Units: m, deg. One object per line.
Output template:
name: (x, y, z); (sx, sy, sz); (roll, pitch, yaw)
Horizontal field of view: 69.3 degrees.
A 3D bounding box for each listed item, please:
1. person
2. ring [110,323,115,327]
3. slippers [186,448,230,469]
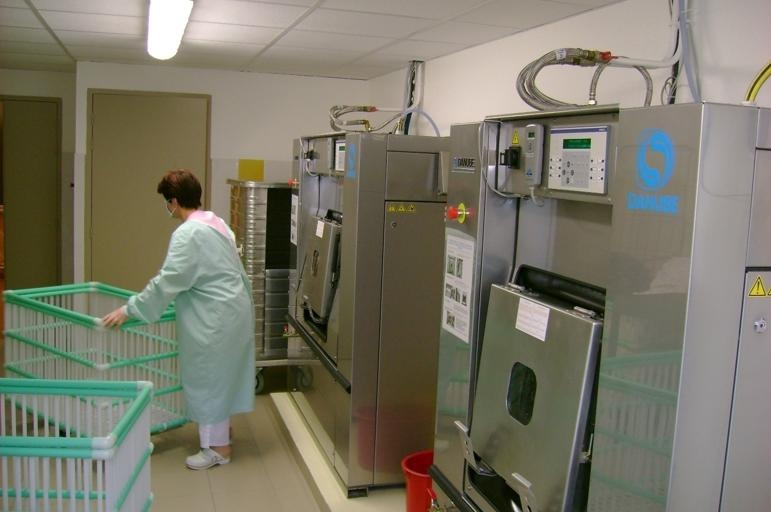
person: (-1.283, 0.470, 3.771); (0.790, 1.991, 0.430); (1, 11, -13)
ring: (-1.719, 0.436, 3.515); (0.024, 0.013, 0.013); (-5, -3, 21)
slippers: (-1.244, 1.396, 3.907); (0.240, 0.103, 0.136); (8, -8, -36)
